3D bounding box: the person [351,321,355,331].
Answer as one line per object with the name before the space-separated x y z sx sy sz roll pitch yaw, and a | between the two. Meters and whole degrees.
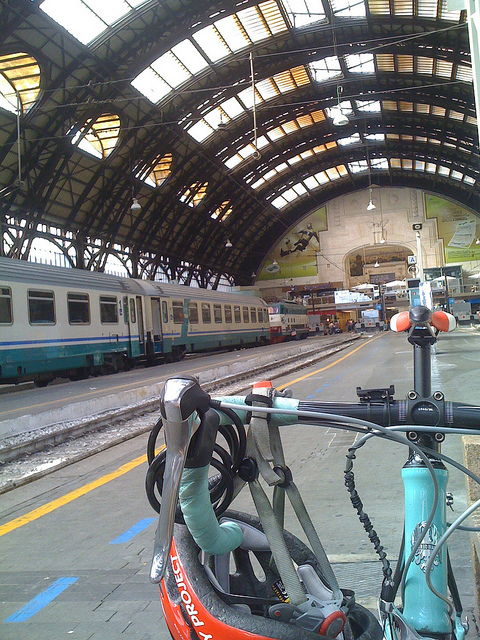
person | 17.367 0.850 68.266 0.296 1.647 0.447 13 13 34
